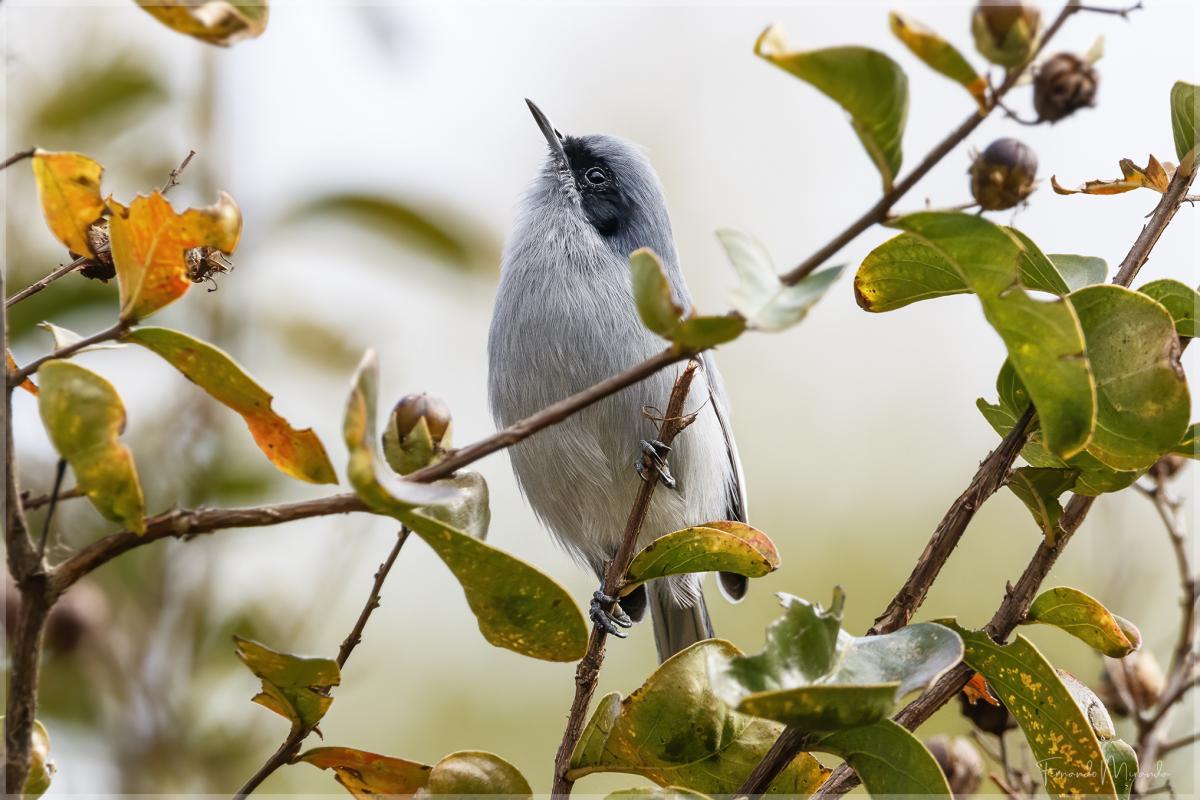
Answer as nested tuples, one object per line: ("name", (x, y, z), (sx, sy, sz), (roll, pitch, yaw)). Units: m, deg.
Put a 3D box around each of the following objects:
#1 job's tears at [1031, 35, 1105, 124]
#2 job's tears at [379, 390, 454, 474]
("job's tears", (0.959, -0.646, 2.945), (0.127, 0.073, 0.109), (-10, -54, 16))
("job's tears", (-0.439, 0.084, 3.363), (0.178, 0.253, 0.166), (5, -10, -20))
